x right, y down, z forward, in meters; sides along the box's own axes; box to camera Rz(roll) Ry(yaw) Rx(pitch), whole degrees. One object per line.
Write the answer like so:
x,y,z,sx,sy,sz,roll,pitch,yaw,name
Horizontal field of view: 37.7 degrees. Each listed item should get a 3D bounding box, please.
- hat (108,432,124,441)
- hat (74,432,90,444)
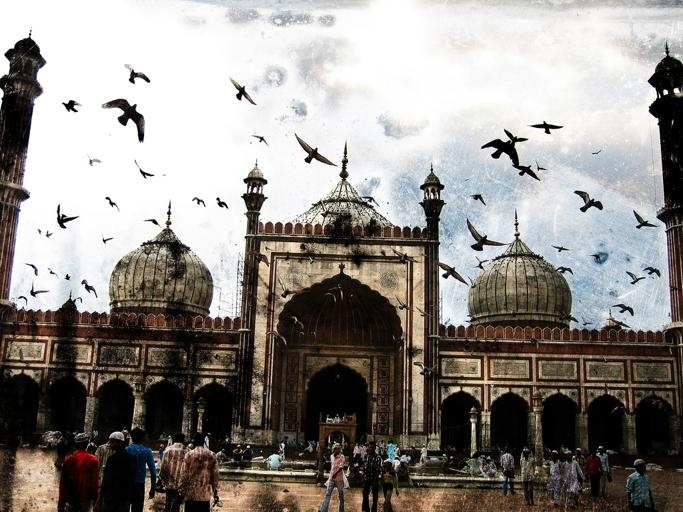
-4.396,3.536,19.718,0.327,0.153,0.345,10,-15,-2,hat
-5.059,3.547,19.477,0.265,0.211,0.381,5,-14,-14,hat
